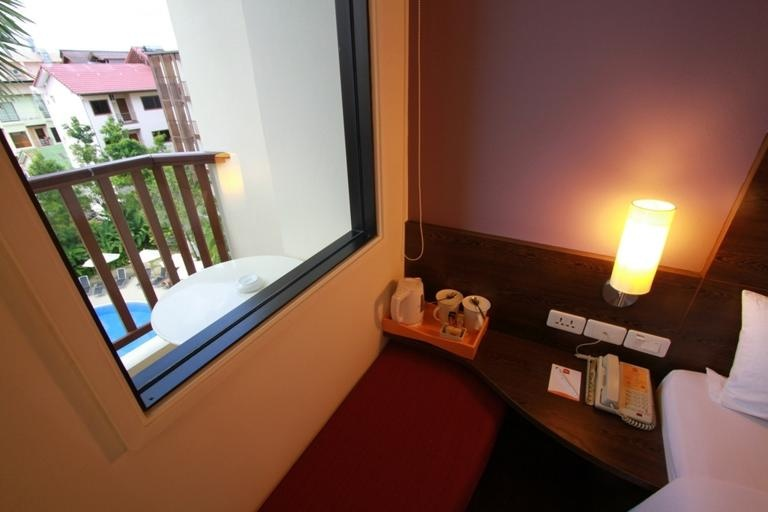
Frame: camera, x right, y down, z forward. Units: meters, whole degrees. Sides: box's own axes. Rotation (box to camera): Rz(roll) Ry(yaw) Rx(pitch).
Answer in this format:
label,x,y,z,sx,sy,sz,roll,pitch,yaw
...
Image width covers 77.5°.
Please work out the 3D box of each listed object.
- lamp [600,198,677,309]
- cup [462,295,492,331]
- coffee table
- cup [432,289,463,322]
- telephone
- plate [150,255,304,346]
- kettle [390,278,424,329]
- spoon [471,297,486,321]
label,x,y,z,sx,sy,sz,roll,pitch,yaw
lamp,1.026,0.017,1.943,0.201,0.469,0.185,10,25,22
cup,0.429,0.268,2.330,0.147,0.154,0.151,0,32,0
coffee table,0.779,0.621,2.073,0.403,0.225,0.885,-17,30,-35
cup,0.321,0.245,2.349,0.124,0.130,0.158,8,25,17
telephone,0.999,0.578,2.007,0.225,0.077,0.283,5,50,23
plate,-0.855,0.193,2.342,0.435,0.111,0.448,4,30,11
kettle,0.111,0.237,2.303,0.114,0.193,0.187,17,42,25
spoon,0.443,0.238,2.270,0.037,0.024,0.139,-4,53,-17
